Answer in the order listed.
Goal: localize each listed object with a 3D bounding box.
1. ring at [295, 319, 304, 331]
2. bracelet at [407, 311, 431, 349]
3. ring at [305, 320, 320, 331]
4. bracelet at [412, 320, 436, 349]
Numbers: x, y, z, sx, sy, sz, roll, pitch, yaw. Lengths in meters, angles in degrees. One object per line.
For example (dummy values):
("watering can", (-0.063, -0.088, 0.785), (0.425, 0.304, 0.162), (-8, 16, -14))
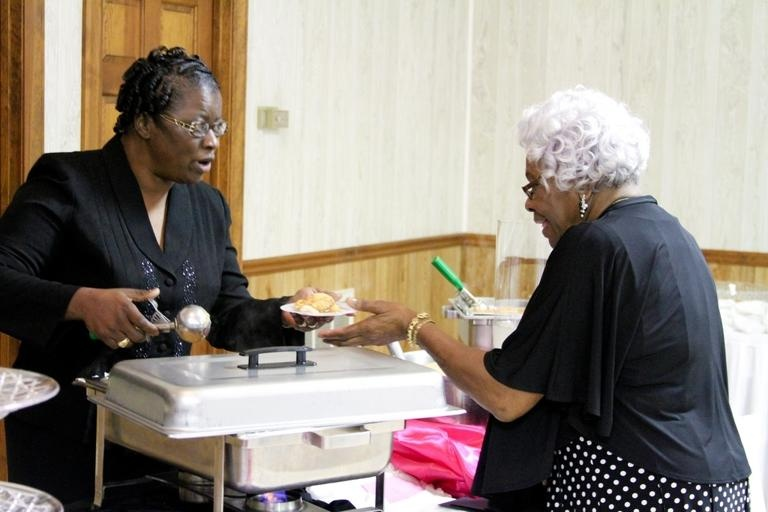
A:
("ring", (-0.265, 0.215, 2.050), (0.029, 0.033, 0.025), (-36, -20, 34))
("bracelet", (0.088, 0.217, 1.949), (0.031, 0.088, 0.079), (13, 5, 32))
("ring", (-0.225, 0.216, 2.038), (0.025, 0.032, 0.011), (2, 28, 11))
("bracelet", (0.113, 0.223, 1.919), (0.027, 0.077, 0.070), (18, 15, 42))
